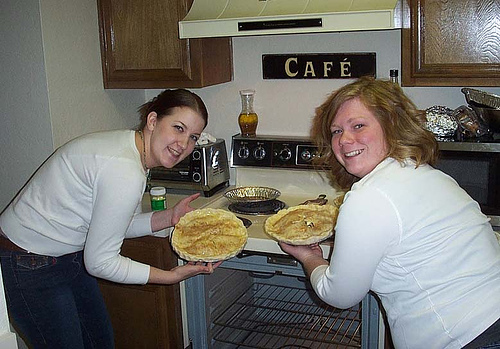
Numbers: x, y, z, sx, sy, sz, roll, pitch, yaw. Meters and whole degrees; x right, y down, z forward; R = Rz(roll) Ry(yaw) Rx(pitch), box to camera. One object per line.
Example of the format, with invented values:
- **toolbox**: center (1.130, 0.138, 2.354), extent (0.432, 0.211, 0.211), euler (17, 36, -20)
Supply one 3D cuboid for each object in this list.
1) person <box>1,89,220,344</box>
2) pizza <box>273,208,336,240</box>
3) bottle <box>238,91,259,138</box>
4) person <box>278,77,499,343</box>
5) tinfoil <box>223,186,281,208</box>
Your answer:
- **person**: center (-0.650, 0.282, 1.599), extent (0.951, 1.264, 0.468), euler (-4, 15, -6)
- **pizza**: center (0.261, 0.275, 1.799), extent (0.289, 0.065, 0.290), euler (7, 25, -1)
- **bottle**: center (-0.012, -0.417, 2.460), extent (0.122, 0.316, 0.123), euler (-2, 15, 1)
- **person**: center (0.492, 0.135, 1.265), extent (0.492, 0.928, 0.752), euler (-13, 18, -34)
- **tinfoil**: center (0.012, 0.149, 2.246), extent (0.287, 0.051, 0.280), euler (-3, 14, 12)
